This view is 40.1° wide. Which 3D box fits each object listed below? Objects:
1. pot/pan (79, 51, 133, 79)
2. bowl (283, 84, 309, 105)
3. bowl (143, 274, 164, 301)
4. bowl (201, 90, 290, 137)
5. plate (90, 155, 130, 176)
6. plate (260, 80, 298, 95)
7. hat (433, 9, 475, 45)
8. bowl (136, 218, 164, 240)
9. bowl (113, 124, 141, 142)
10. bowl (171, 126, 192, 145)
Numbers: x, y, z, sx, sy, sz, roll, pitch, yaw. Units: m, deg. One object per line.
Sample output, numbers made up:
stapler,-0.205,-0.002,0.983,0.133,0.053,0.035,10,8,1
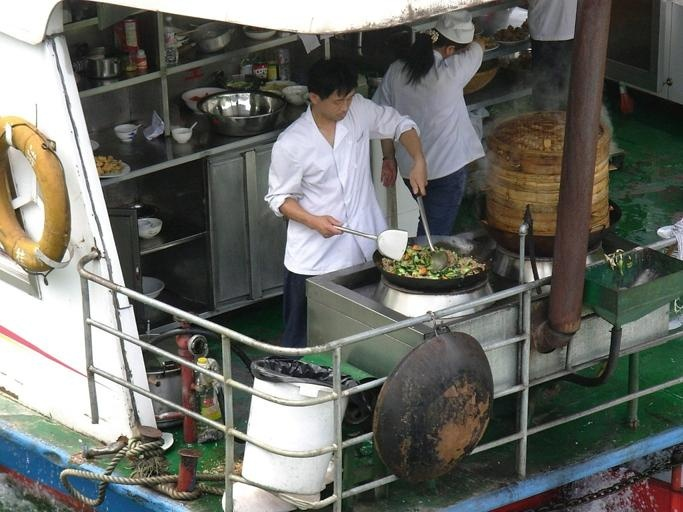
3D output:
pot/pan,-1.707,-1.385,6.773,0.298,0.095,0.223,12,21,34
bowl,-0.356,-1.298,7.489,0.184,0.066,0.168,0,37,0
bowl,-1.437,0.241,7.126,0.208,0.063,0.191,3,38,-2
bowl,-0.721,-1.103,7.174,0.524,0.136,0.518,1,27,0
plate,-1.601,-0.622,6.494,0.209,0.031,0.186,14,34,-7
plate,-0.514,-1.392,7.685,0.208,0.038,0.182,4,37,2
hat,0.785,-1.566,6.482,0.276,0.112,0.229,-1,67,-8
bowl,-1.411,-0.198,6.923,0.173,0.087,0.157,-7,13,-14
bowl,-1.591,-0.912,6.944,0.186,0.075,0.114,-12,22,-32
bowl,-1.166,-0.890,6.869,0.146,0.072,0.132,0,7,3
